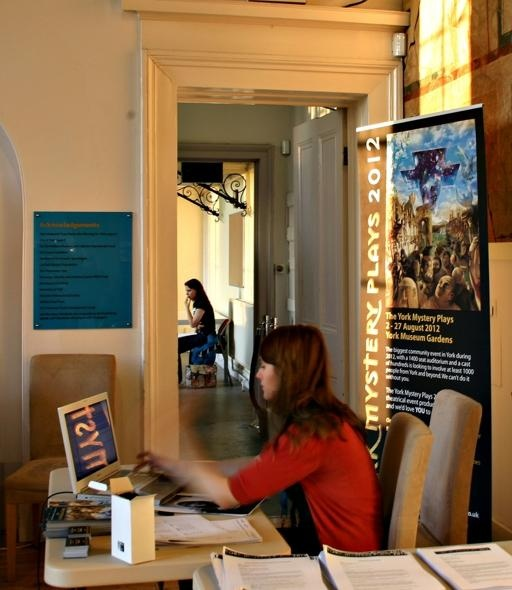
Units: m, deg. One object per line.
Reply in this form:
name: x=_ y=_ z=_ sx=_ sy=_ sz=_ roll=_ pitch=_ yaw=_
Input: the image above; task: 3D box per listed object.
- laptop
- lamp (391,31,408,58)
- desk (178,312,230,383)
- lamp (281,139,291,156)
laptop: x=-0.429 y=0.490 z=1.686 sx=0.226 sy=0.390 sz=0.339 roll=-7 pitch=2 yaw=17
lamp: x=0.899 y=-1.558 z=3.320 sx=0.096 sy=0.140 sz=0.054 roll=-3 pitch=4 yaw=-13
desk: x=-0.753 y=0.746 z=7.959 sx=0.842 sy=1.397 sz=0.765 roll=-1 pitch=1 yaw=-22
lamp: x=0.334 y=-1.617 z=5.891 sx=0.110 sy=0.260 sz=0.131 roll=0 pitch=2 yaw=-4
